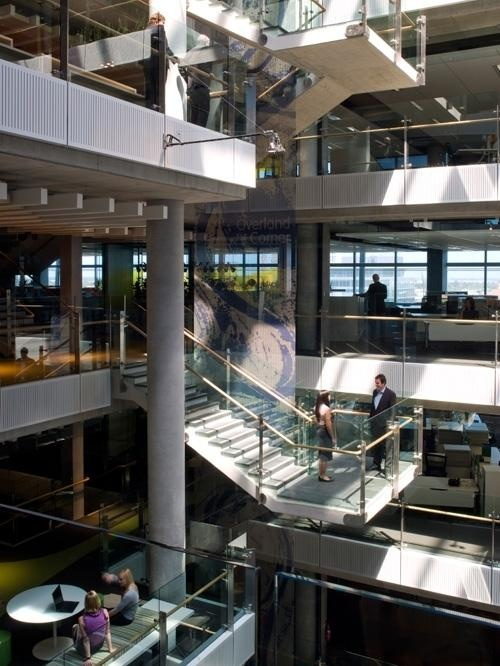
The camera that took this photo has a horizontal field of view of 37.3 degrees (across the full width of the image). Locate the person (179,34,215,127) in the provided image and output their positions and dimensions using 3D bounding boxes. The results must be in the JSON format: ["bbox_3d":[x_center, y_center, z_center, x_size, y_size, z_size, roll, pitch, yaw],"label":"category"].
[{"bbox_3d":[-0.539,-2.571,7.429,0.163,0.917,0.586,0,5,24],"label":"person"}]

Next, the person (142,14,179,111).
[{"bbox_3d":[-0.876,-2.495,6.822,0.176,0.833,0.391,-1,5,17],"label":"person"}]

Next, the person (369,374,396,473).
[{"bbox_3d":[1.661,1.109,9.312,0.325,1.033,1.290,-1,5,10],"label":"person"}]

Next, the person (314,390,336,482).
[{"bbox_3d":[0.911,1.261,8.996,0.244,1.051,0.384,-1,4,5],"label":"person"}]

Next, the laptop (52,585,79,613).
[{"bbox_3d":[-2.193,3.175,8.732,0.130,0.160,0.205,-18,0,0],"label":"laptop"}]

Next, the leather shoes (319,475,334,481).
[{"bbox_3d":[0.914,1.747,8.916,0.157,0.070,0.058,-1,3,19],"label":"leather shoes"}]

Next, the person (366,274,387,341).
[{"bbox_3d":[2.176,-0.382,12.831,0.335,0.965,1.512,-1,5,9],"label":"person"}]
